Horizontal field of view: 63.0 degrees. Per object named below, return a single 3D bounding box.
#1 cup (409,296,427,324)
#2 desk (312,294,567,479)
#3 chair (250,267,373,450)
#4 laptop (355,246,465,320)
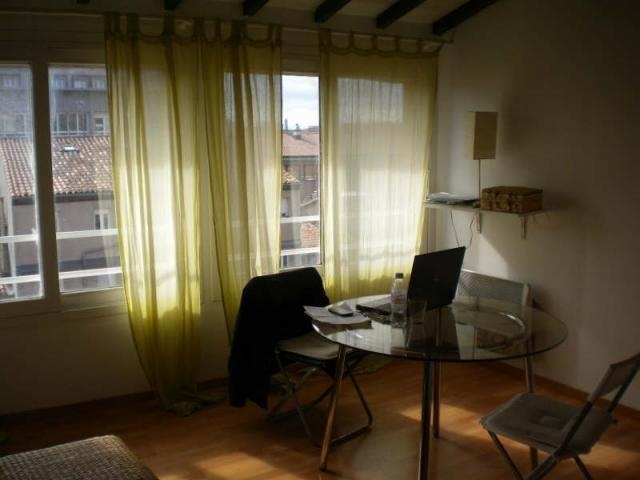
[{"bbox_3d":[0.565,0.405,3.053,0.128,0.151,0.142,-2,2,11],"label":"cup"},{"bbox_3d":[0.709,0.548,3.027,1.122,0.770,1.176,-1,6,-16],"label":"desk"},{"bbox_3d":[-0.034,0.774,3.673,0.645,1.094,0.741,-5,7,-41],"label":"chair"},{"bbox_3d":[0.605,0.222,3.309,0.550,0.397,0.445,-8,12,-41],"label":"laptop"}]
